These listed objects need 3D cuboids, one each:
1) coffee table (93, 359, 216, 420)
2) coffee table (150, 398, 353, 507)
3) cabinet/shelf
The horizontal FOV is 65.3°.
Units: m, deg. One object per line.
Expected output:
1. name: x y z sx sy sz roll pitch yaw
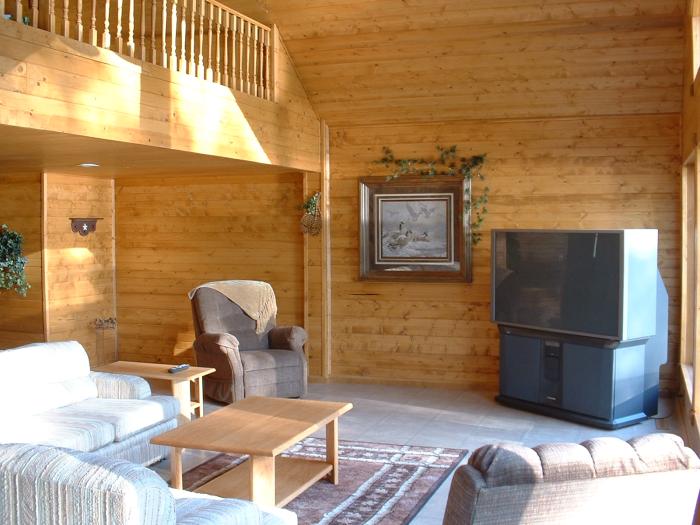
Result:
1. coffee table: -1.739 1.150 4.938 0.947 0.295 0.425 2 4 25
2. coffee table: -0.733 1.086 3.763 0.938 0.385 1.234 3 3 22
3. cabinet/shelf: 2.239 1.082 5.723 1.089 0.900 1.829 1 0 -44
